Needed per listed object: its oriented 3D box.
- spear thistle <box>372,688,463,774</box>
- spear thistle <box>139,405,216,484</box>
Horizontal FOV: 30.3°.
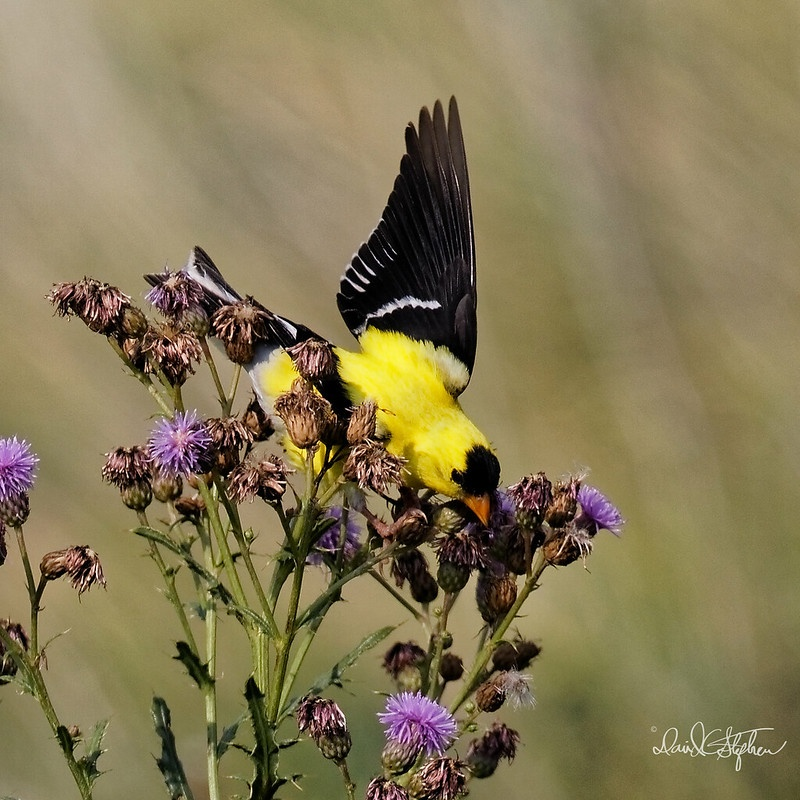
[{"bbox_3d":[0.045,0.781,3.594,0.189,0.255,0.209,-3,-37,2],"label":"spear thistle"},{"bbox_3d":[-0.552,0.122,3.650,0.188,0.169,0.084,-17,-39,18],"label":"spear thistle"}]
